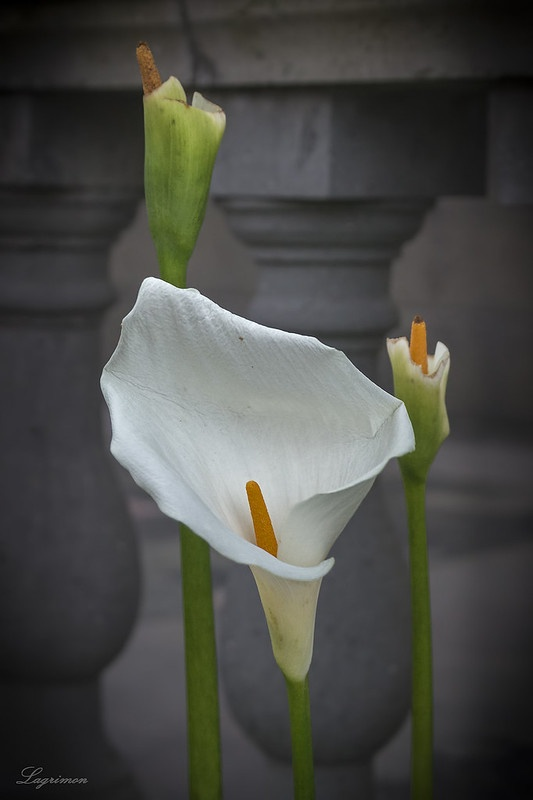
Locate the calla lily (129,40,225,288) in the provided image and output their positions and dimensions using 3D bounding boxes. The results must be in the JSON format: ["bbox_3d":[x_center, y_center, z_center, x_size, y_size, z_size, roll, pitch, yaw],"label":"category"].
[{"bbox_3d":[-0.062,-0.163,0.617,0.059,0.162,0.030,2,13,-4],"label":"calla lily"}]

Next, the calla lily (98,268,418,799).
[{"bbox_3d":[-0.009,0.022,0.556,0.190,0.189,0.109,1,13,-11],"label":"calla lily"}]
